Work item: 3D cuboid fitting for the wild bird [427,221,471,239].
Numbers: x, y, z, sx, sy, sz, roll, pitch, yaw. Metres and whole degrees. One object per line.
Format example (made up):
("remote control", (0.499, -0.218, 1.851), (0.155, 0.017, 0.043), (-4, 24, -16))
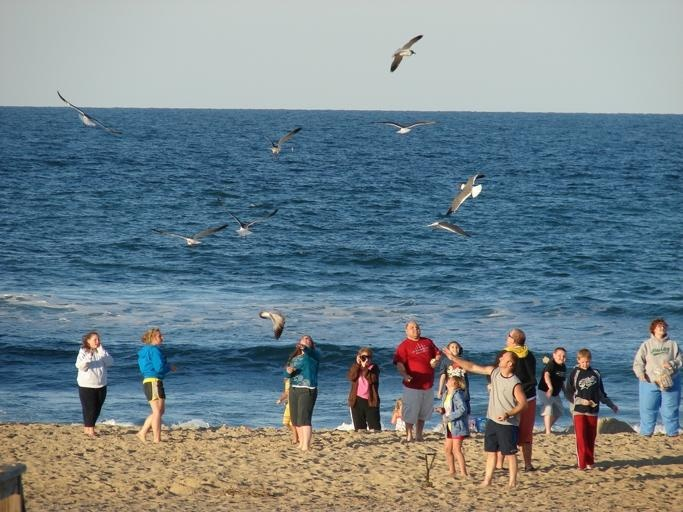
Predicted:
("wild bird", (6.345, -1.455, 98.345), (2.973, 0.814, 0.754), (10, -37, 17))

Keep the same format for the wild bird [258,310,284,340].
("wild bird", (-3.495, 3.511, 81.297), (0.991, 1.139, 2.260), (19, 18, -6))
